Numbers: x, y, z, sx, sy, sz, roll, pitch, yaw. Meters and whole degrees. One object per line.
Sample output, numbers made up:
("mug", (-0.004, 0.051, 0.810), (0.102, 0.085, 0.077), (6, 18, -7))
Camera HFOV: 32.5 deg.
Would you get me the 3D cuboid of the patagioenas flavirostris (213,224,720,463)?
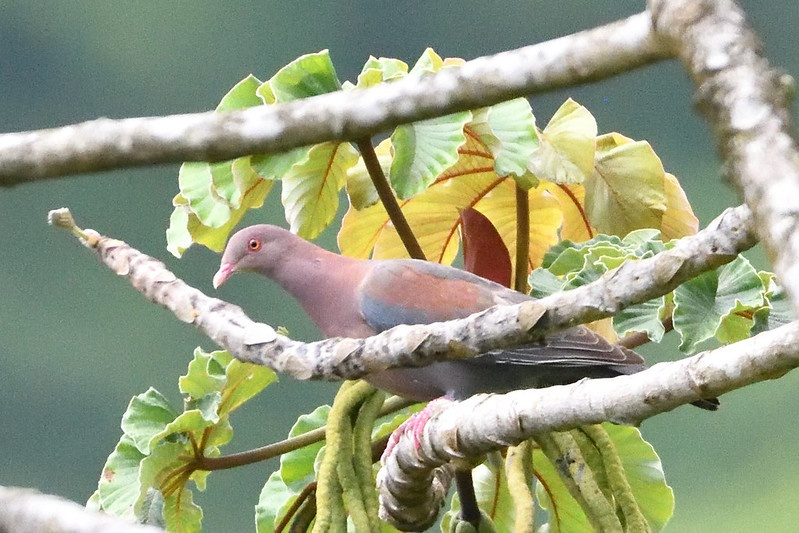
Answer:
("patagioenas flavirostris", (0.067, 0.068, 1.665), (0.539, 0.302, 0.174), (-7, -13, -14))
